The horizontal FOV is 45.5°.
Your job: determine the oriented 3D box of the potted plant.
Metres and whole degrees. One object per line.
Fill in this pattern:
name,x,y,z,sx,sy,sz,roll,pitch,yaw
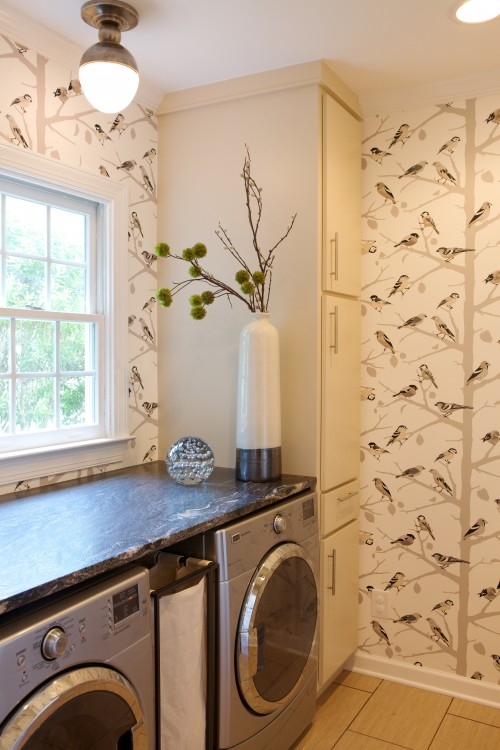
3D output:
potted plant,-0.098,-0.169,2.008,0.494,1.079,0.367,0,1,3

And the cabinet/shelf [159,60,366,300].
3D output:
cabinet/shelf,0.137,-0.726,2.753,0.827,1.136,0.812,0,5,21
